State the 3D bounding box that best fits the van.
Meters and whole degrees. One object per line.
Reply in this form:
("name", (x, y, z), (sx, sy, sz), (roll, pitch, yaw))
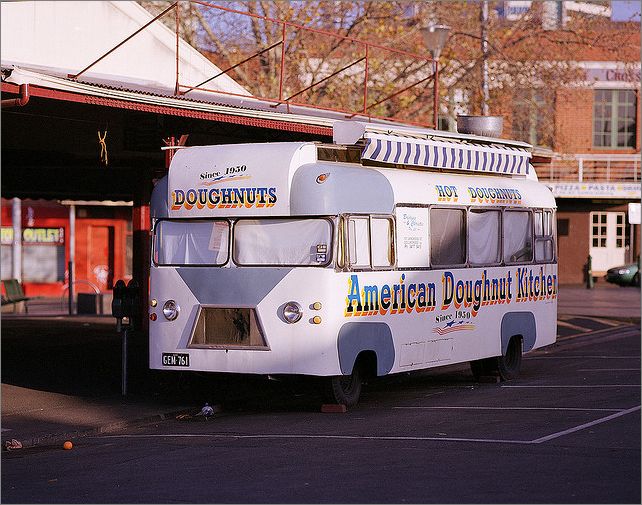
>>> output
("van", (1.145, 0.235, 19.617), (7.958, 2.833, 2.491), (-5, 2, -37))
